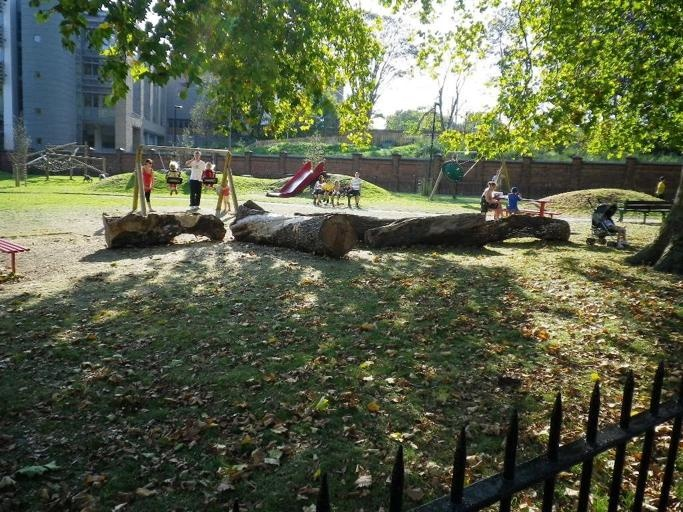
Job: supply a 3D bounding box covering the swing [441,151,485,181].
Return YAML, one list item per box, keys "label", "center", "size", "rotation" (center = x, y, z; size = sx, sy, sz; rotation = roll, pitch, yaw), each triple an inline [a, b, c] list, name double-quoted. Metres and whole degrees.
- label: "swing"
  center: [9.298, -6.645, 36.635]
  size: [2.376, 1.853, 5.770]
  rotation: [8, 13, 23]

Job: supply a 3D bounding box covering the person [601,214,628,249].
- label: "person"
  center: [6.703, -0.619, 11.401]
  size: [0.590, 0.717, 0.851]
  rotation: [3, 12, -2]

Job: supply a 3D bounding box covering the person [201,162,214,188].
- label: "person"
  center: [-4.686, -2.825, 16.692]
  size: [0.369, 0.917, 2.625]
  rotation: [0, 12, -16]

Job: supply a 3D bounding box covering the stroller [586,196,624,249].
- label: "stroller"
  center: [6.614, -0.761, 11.677]
  size: [0.636, 1.007, 0.844]
  rotation: [-14, 11, -36]

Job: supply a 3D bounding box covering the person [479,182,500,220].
- label: "person"
  center: [5.413, -1.946, 16.965]
  size: [0.741, 1.363, 0.671]
  rotation: [-1, 15, -1]

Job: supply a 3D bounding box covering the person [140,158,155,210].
- label: "person"
  center: [-5.994, -2.153, 14.541]
  size: [0.463, 1.547, 0.442]
  rotation: [8, 9, 23]
